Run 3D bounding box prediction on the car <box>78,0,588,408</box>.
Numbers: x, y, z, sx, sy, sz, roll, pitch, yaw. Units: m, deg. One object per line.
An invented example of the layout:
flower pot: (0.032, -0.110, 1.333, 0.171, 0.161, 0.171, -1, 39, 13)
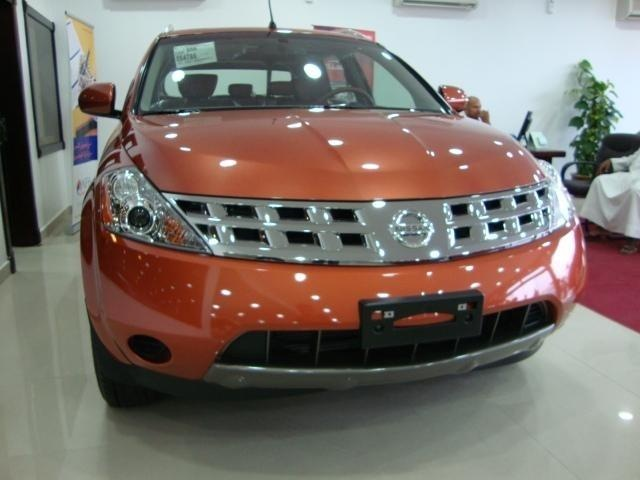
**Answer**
car: (-0.243, -0.338, 2.335, 1.292, 1.048, 2.341, 0, 5, -16)
